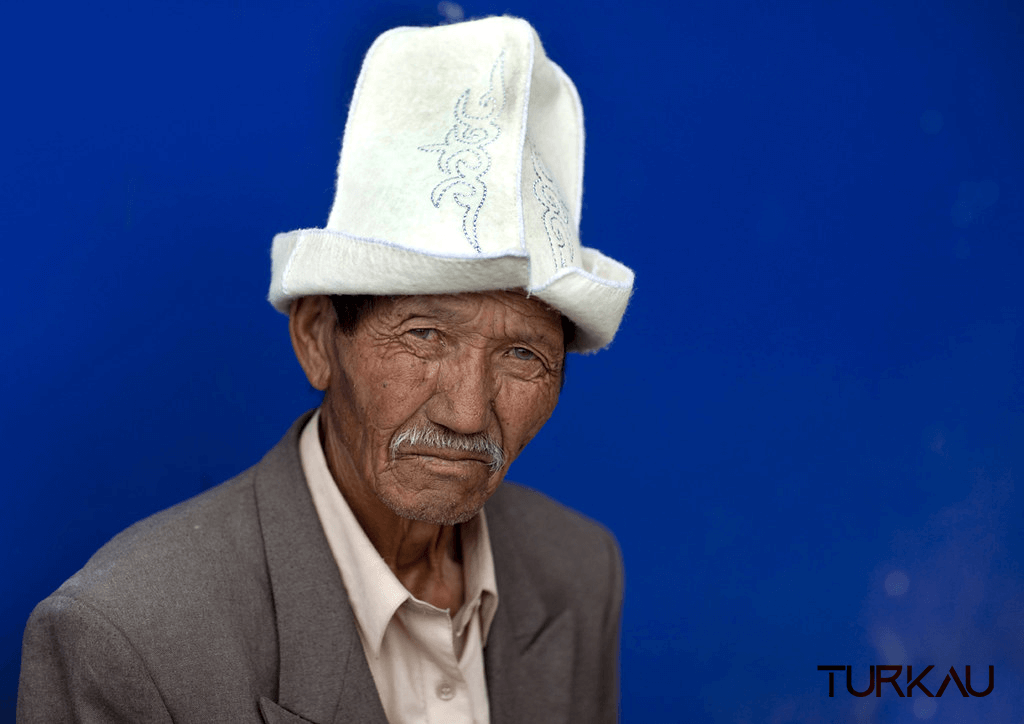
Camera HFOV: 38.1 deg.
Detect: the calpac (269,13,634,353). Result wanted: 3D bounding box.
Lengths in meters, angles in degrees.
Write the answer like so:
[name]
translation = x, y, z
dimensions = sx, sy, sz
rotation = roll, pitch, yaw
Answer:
[calpac]
translation = -0.247, -0.641, 5.742
dimensions = 1.087, 1.075, 1.260
rotation = 5, -6, -21
